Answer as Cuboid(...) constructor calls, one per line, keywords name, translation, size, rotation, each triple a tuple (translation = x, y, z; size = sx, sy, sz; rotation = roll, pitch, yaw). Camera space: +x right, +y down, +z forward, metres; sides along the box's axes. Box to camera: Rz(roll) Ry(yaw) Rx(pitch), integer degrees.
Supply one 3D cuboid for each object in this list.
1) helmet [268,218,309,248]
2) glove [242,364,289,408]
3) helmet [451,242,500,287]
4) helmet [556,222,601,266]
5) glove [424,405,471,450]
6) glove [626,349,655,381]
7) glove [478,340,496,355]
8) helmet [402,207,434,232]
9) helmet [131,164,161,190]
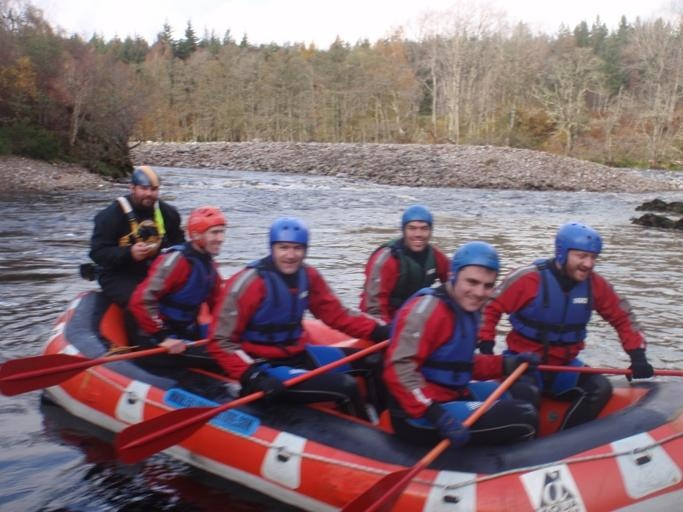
Cuboid(name="helmet", translation=(-0.429, -0.194, 5.986), size=(0.277, 0.184, 0.296), rotation=(3, 9, -4))
Cuboid(name="glove", translation=(-0.581, 0.992, 5.653), size=(0.363, 0.116, 0.371), rotation=(10, 13, 42))
Cuboid(name="helmet", translation=(0.904, 0.068, 5.339), size=(0.339, 0.253, 0.358), rotation=(22, -26, -34))
Cuboid(name="helmet", translation=(1.922, -0.097, 6.018), size=(0.327, 0.249, 0.400), rotation=(5, 0, -43))
Cuboid(name="glove", translation=(0.726, 1.183, 5.103), size=(0.420, 0.198, 0.147), rotation=(28, 3, 1))
Cuboid(name="glove", translation=(2.406, 0.885, 5.927), size=(0.229, 0.094, 0.261), rotation=(-5, 30, 3))
Cuboid(name="glove", translation=(1.196, 0.764, 6.090), size=(0.153, 0.070, 0.123), rotation=(-3, -1, -16))
Cuboid(name="helmet", translation=(0.717, -0.355, 7.020), size=(0.314, 0.155, 0.242), rotation=(2, -18, 1))
Cuboid(name="helmet", translation=(-2.003, -0.795, 7.574), size=(0.248, 0.201, 0.310), rotation=(-4, 23, -39))
